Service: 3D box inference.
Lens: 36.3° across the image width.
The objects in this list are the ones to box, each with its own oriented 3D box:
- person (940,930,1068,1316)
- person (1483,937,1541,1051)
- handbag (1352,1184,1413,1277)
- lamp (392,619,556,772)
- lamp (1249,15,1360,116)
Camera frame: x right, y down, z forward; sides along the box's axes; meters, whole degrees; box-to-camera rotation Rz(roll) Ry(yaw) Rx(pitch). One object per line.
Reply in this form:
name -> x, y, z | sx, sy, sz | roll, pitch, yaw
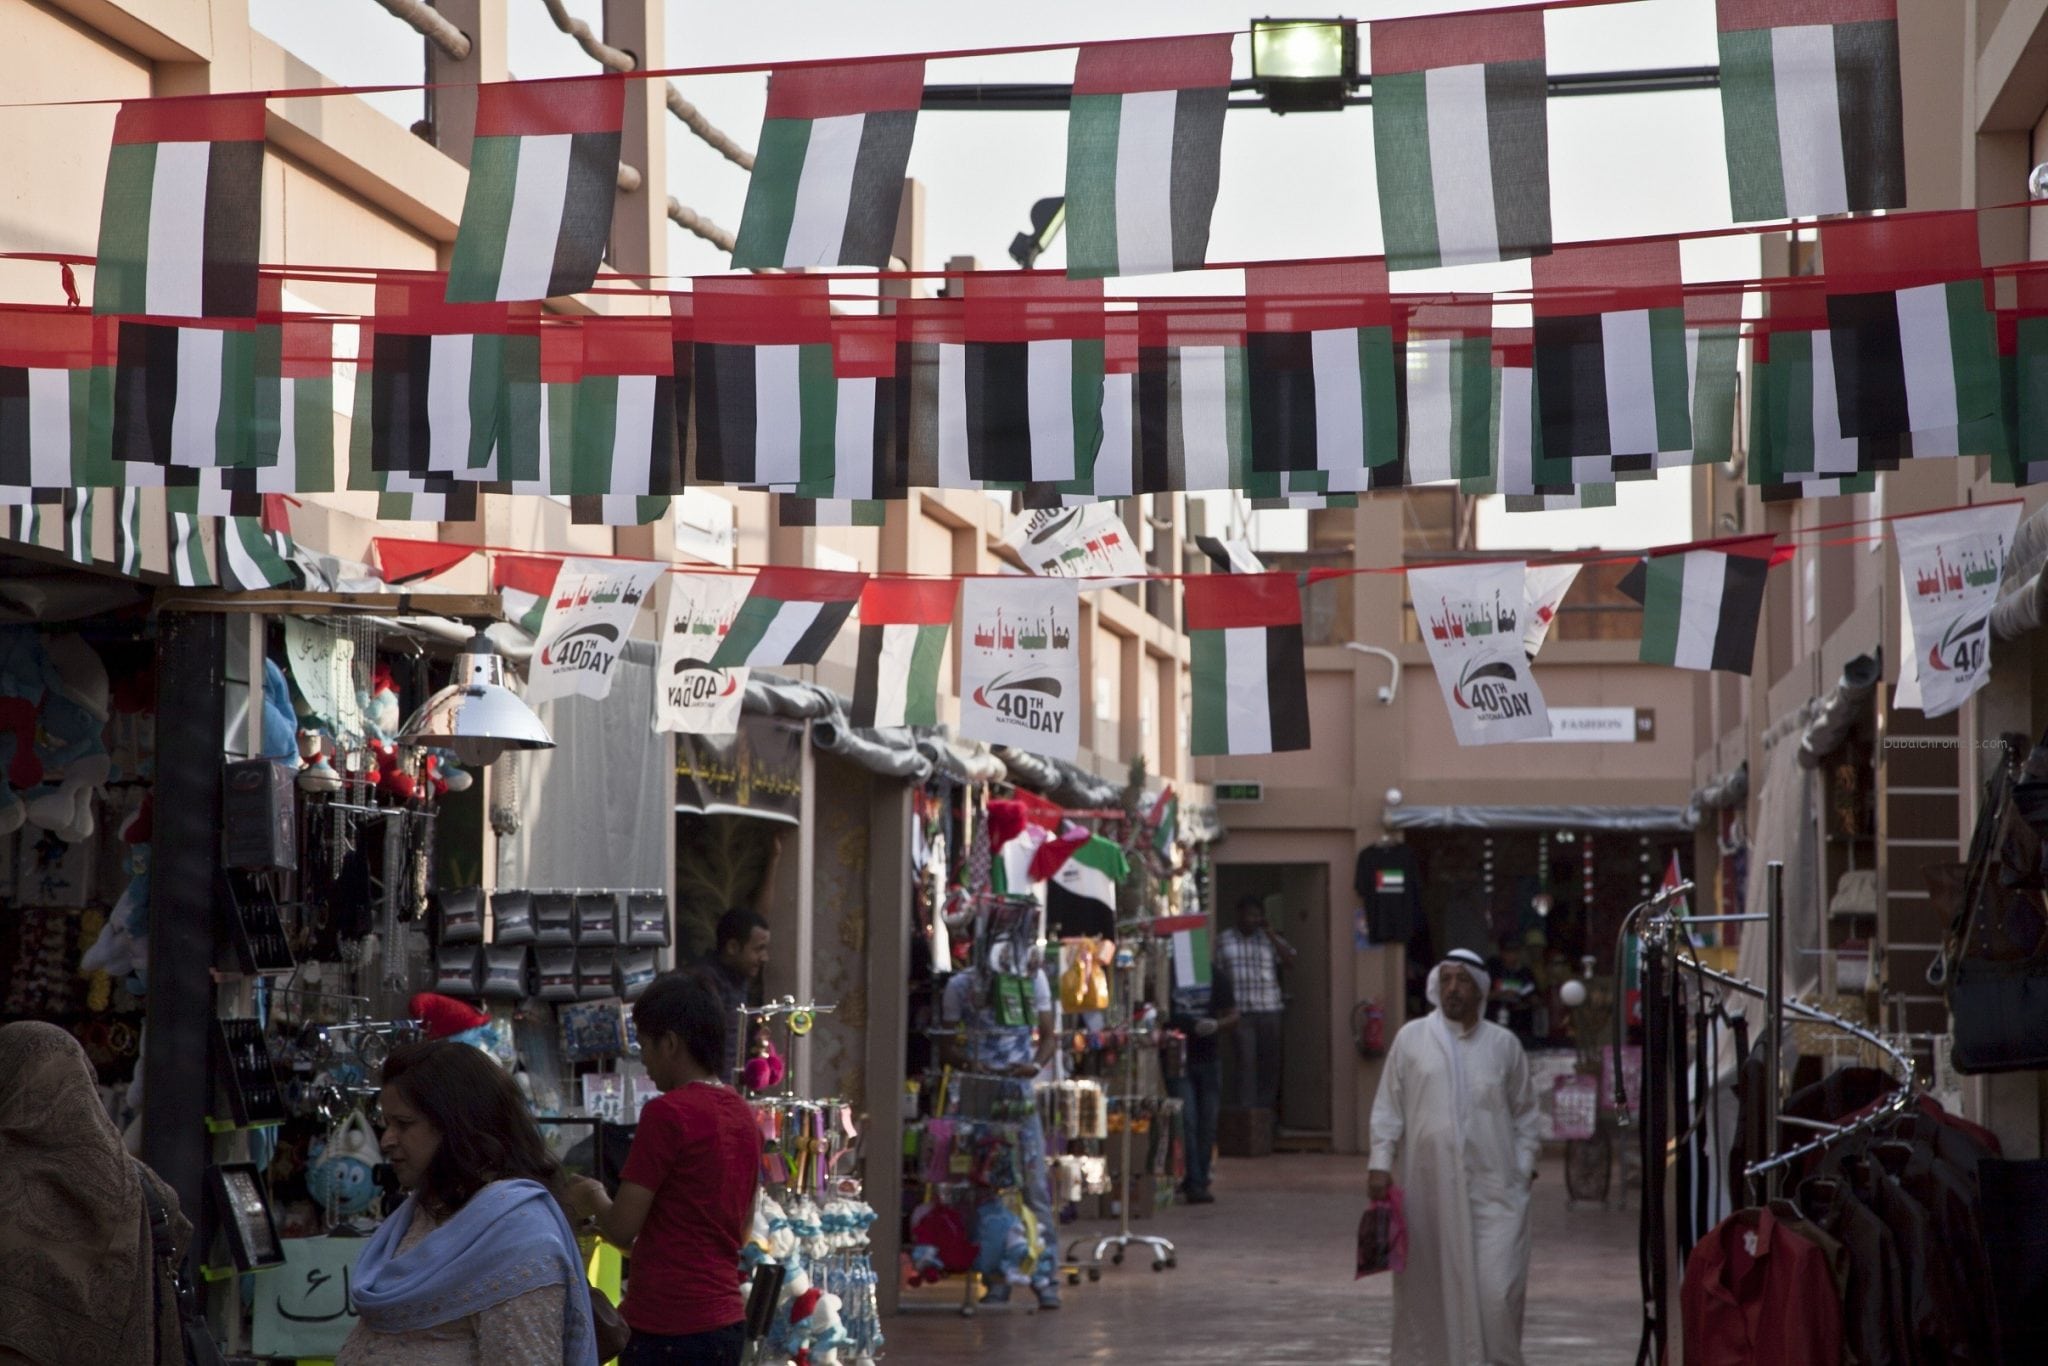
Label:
person -> -0.124, 2.426, 17.333 | 0.627, 2.074, 1.014 | 0, -10, -1
person -> 3.817, 2.542, 24.428 | 0.367, 1.084, 0.343 | 5, 13, 17
handbag -> 1.611, 2.461, 13.858 | 0.274, 0.388, 0.123 | 1, -19, 31
lamp -> -2.242, 0.059, 12.876 | 0.623, 0.618, 0.689 | -2, -9, 17
lamp -> 1.001, -2.145, 11.052 | 0.368, 0.325, 0.331 | -1, -10, 3
